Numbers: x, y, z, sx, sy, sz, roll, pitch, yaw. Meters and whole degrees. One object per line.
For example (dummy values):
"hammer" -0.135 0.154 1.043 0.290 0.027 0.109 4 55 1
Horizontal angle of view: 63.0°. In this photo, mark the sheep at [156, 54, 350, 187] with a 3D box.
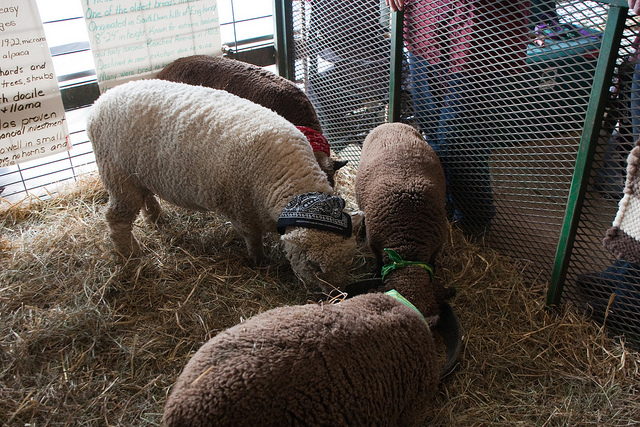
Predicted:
"sheep" -0.334 -0.786 4.938 1.843 1.395 1.039 15 33 28

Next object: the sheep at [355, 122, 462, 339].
"sheep" 0.562 0.100 3.947 0.572 0.874 1.642 -4 60 5

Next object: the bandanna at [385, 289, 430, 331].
"bandanna" 0.527 0.575 3.271 0.092 0.191 0.255 -45 52 -6

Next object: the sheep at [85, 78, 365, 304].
"sheep" -0.714 -0.214 3.853 2.043 1.412 0.616 6 28 18

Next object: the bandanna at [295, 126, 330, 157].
"bandanna" -0.030 -0.604 4.241 0.183 0.318 0.151 -19 15 34

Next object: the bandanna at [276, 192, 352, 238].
"bandanna" -0.046 0.019 3.545 0.495 0.260 0.210 -2 26 1
